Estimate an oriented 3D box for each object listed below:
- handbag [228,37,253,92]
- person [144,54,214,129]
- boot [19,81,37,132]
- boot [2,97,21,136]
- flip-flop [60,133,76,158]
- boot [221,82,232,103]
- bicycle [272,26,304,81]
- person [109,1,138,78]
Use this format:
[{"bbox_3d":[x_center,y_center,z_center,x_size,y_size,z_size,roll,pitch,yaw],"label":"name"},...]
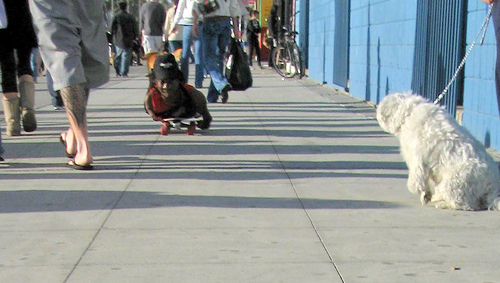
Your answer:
[{"bbox_3d":[-0.171,-1.317,14.384,0.397,0.893,0.358,0,11,0],"label":"handbag"},{"bbox_3d":[-0.998,-0.682,11.518,0.432,1.042,0.767,11,16,43],"label":"person"},{"bbox_3d":[-3.013,-0.471,11.435,0.186,0.734,0.371,-2,11,-10],"label":"boot"},{"bbox_3d":[-3.236,-0.352,11.493,0.206,0.540,0.261,-3,12,-16],"label":"boot"},{"bbox_3d":[-2.246,0.034,10.221,0.120,0.129,0.338,-1,46,-43],"label":"flip-flop"},{"bbox_3d":[-0.424,-0.830,14.358,0.116,0.343,0.153,3,32,-20],"label":"boot"},{"bbox_3d":[1.230,-2.131,21.222,0.734,0.892,1.555,-10,12,-17],"label":"bicycle"},{"bbox_3d":[-3.302,-2.645,22.064,0.711,1.916,1.007,-2,11,-8],"label":"person"}]
